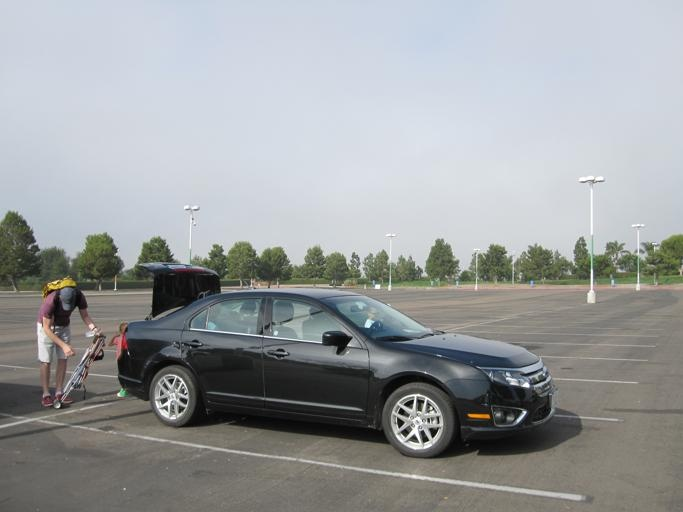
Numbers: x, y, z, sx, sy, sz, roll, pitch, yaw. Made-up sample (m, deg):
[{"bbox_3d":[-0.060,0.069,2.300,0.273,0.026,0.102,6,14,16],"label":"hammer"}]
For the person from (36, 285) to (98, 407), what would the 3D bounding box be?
[{"bbox_3d":[-4.538,1.394,9.307,0.920,2.066,0.704,-1,-3,40],"label":"person"}]

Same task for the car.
[{"bbox_3d":[-0.123,1.374,8.405,5.586,2.452,2.427,-2,-3,23],"label":"car"}]

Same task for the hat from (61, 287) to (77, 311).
[{"bbox_3d":[-4.417,0.699,9.213,0.263,0.404,0.192,2,-3,-34],"label":"hat"}]

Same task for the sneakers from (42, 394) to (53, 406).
[{"bbox_3d":[-4.794,2.336,9.285,0.157,0.179,0.306,2,-3,-28],"label":"sneakers"}]

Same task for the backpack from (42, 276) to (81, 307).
[{"bbox_3d":[-4.613,0.584,9.294,0.504,0.221,0.372,-9,2,28],"label":"backpack"}]

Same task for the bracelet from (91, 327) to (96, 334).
[{"bbox_3d":[-4.048,1.206,9.297,0.098,0.095,0.101,2,1,20],"label":"bracelet"}]
